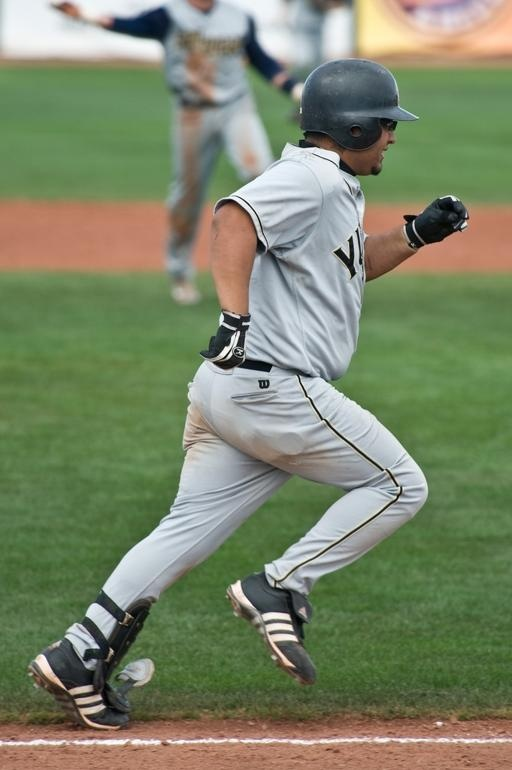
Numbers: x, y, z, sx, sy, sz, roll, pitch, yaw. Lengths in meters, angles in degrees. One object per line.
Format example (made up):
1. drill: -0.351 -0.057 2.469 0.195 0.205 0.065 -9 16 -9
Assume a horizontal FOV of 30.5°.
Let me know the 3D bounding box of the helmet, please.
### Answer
1. helmet: 0.259 -0.748 2.457 0.326 0.192 0.210 -9 31 -19

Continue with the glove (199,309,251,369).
1. glove: -0.067 -0.113 2.165 0.111 0.129 0.117 3 12 -22

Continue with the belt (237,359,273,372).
1. belt: 0.000 -0.048 2.273 0.054 0.018 0.036 17 -2 -5

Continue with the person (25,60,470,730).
1. person: 0.039 -0.002 2.386 1.079 1.736 0.539 1 -1 -12
